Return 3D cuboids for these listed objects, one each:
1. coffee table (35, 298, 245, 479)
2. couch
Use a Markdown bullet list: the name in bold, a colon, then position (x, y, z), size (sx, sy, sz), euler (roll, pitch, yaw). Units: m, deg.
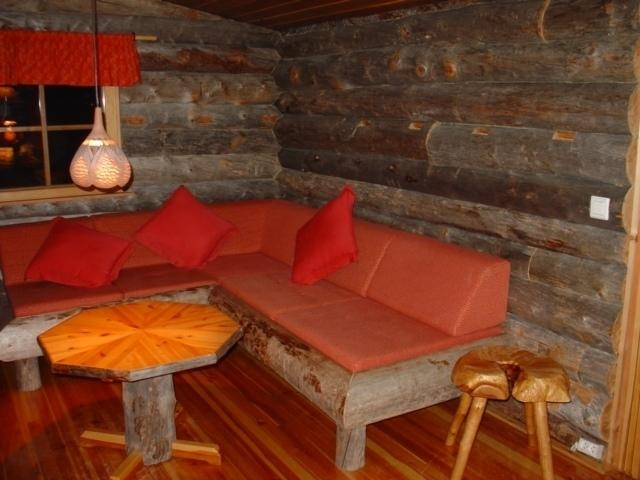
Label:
- **coffee table**: position (-1.121, 0.748, 2.831), size (1.029, 0.643, 0.953), euler (-7, 20, -24)
- **couch**: position (-0.078, 0.432, 3.393), size (2.408, 0.784, 2.120), euler (-9, 19, -30)
